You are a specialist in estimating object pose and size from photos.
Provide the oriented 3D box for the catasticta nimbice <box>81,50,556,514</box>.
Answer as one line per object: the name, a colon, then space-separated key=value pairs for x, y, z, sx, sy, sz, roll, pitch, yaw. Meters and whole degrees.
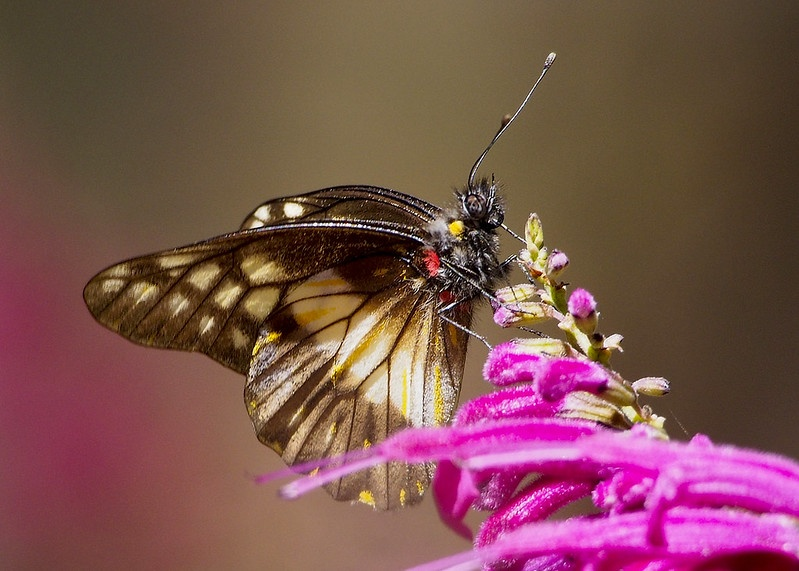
catasticta nimbice: x=-0.148 y=0.069 z=2.068 sx=0.895 sy=0.810 sz=1.053 roll=-38 pitch=-18 yaw=13

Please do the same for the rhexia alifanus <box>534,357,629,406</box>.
rhexia alifanus: x=0.280 y=0.148 z=1.400 sx=0.085 sy=0.128 sz=0.093 roll=-5 pitch=-82 yaw=3

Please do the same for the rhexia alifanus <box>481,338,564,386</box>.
rhexia alifanus: x=0.195 y=0.118 z=1.435 sx=0.121 sy=0.108 sz=0.097 roll=-3 pitch=-85 yaw=-4

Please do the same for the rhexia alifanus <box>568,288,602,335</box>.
rhexia alifanus: x=0.295 y=0.043 z=1.451 sx=0.043 sy=0.054 sz=0.075 roll=-3 pitch=-47 yaw=17

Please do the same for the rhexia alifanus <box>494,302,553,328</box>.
rhexia alifanus: x=0.209 y=0.050 z=1.538 sx=0.066 sy=0.029 sz=0.048 roll=8 pitch=-21 yaw=14
